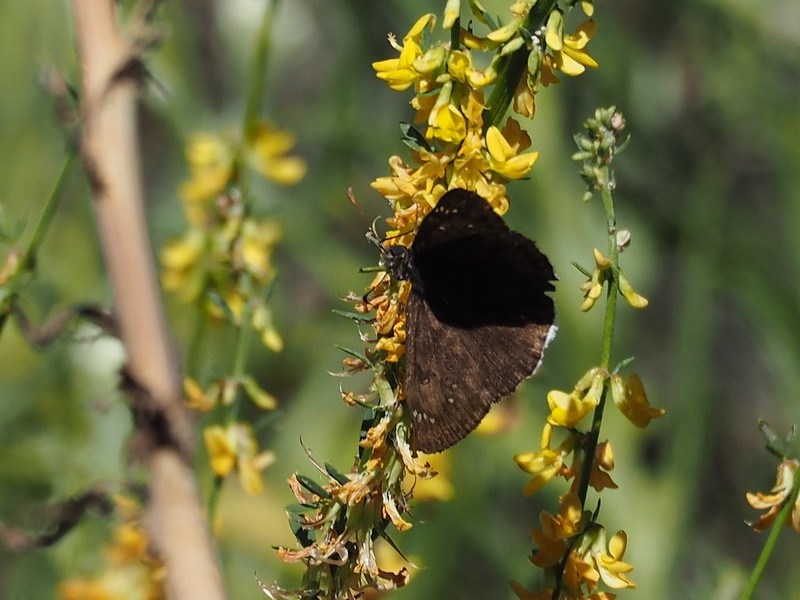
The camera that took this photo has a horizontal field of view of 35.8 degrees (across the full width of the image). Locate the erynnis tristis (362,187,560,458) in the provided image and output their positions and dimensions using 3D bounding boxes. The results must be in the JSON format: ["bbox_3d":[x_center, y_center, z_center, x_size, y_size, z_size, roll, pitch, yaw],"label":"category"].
[{"bbox_3d":[0.091,-0.029,1.232,0.182,0.308,0.138,23,94,-10],"label":"erynnis tristis"}]
